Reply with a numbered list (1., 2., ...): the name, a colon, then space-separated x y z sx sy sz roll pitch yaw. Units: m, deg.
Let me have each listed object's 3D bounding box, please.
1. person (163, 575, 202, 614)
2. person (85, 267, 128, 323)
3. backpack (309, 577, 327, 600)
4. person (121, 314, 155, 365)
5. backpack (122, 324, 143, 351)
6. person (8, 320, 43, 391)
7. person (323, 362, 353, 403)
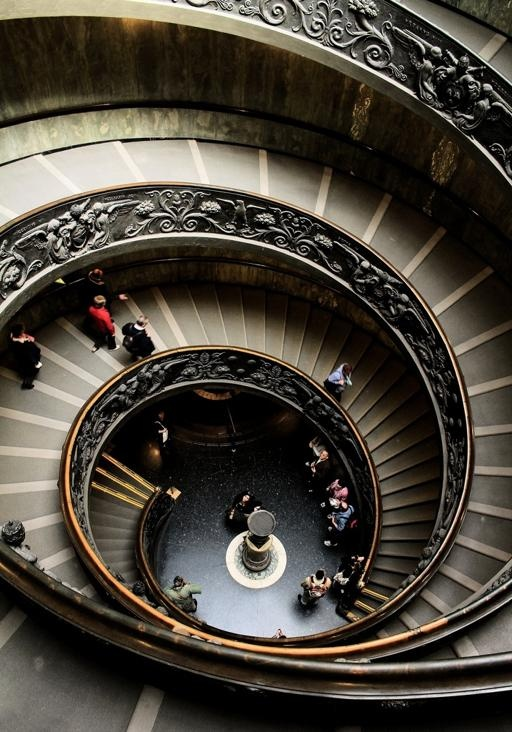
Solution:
1. person: -1.330 4.150 9.743 0.563 1.410 0.369 0 47 -11
2. person: -2.888 -1.362 10.609 0.382 1.175 0.788 -42 91 -14
3. backpack: 1.177 4.179 10.474 0.364 0.766 0.227 4 47 -7
4. person: -2.215 -0.461 10.302 0.369 0.895 0.426 -40 77 -22
5. backpack: -2.211 -0.523 9.935 0.232 0.430 0.363 8 91 -20
6. person: -3.988 -0.145 9.509 0.370 1.083 0.530 -27 75 -23
7. person: 1.610 0.361 10.966 0.365 0.818 0.447 -19 69 -13
